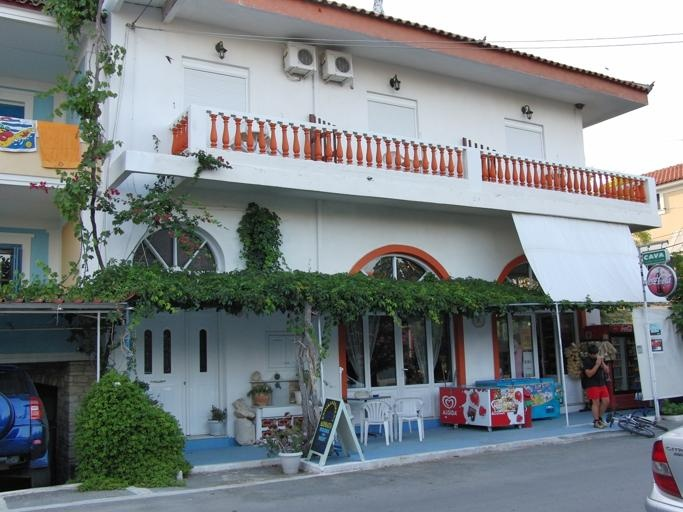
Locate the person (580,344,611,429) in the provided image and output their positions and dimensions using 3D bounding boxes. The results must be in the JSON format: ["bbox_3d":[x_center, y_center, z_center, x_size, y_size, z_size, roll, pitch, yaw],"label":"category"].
[{"bbox_3d":[6.249,3.083,16.122,0.608,2.261,0.724,1,-3,-37],"label":"person"}]

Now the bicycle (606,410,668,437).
[{"bbox_3d":[6.992,3.957,15.294,0.881,0.476,0.692,-2,-4,38],"label":"bicycle"}]

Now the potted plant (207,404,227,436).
[{"bbox_3d":[-2.853,3.791,14.957,0.514,0.742,0.514,3,-15,-5],"label":"potted plant"}]

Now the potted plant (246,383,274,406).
[{"bbox_3d":[-1.880,3.186,14.977,0.448,0.464,0.444,13,-23,-42],"label":"potted plant"}]
